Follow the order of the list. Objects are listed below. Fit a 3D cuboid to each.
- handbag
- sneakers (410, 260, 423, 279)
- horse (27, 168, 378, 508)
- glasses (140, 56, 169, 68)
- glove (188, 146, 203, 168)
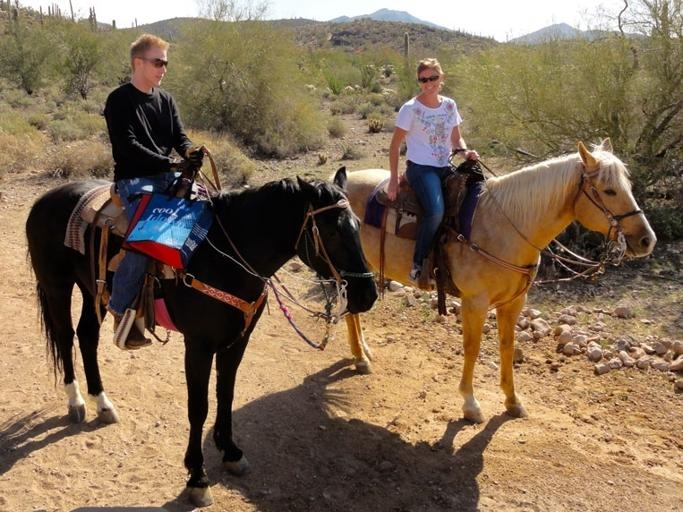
[{"bbox_3d":[-1.723,-0.312,6.360,0.874,0.287,0.948,12,51,1],"label":"handbag"},{"bbox_3d":[0.896,0.189,7.692,0.140,0.174,0.072,7,3,35],"label":"sneakers"},{"bbox_3d":[-1.573,1.002,6.975,3.462,2.688,1.094,10,12,20],"label":"horse"},{"bbox_3d":[-1.908,-1.972,6.496,0.249,0.094,0.085,1,11,-18],"label":"glasses"},{"bbox_3d":[-1.464,-0.993,6.391,0.111,0.144,0.150,26,49,20],"label":"glove"}]
